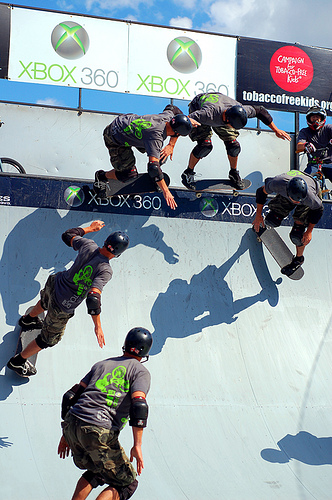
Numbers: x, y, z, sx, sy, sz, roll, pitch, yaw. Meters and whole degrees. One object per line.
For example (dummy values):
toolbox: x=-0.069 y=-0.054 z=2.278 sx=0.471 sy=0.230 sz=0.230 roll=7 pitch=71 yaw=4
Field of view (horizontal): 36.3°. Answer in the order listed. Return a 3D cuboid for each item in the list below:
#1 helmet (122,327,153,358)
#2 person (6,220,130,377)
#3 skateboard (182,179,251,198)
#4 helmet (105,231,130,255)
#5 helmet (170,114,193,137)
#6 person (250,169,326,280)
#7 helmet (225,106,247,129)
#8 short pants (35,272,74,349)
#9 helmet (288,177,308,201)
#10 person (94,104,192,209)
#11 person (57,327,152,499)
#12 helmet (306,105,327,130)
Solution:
helmet: x=-0.254 y=0.809 z=4.609 sx=0.210 sy=0.261 sz=0.270 roll=26 pitch=-3 yaw=-1
person: x=-1.268 y=0.661 z=6.317 sx=1.608 sy=1.180 sz=0.538 roll=-36 pitch=-29 yaw=28
skateboard: x=0.982 y=-1.035 z=8.267 sx=1.389 sy=0.371 sz=0.225 roll=-1 pitch=-16 yaw=-14
helmet: x=-0.531 y=-0.126 z=5.668 sx=0.207 sy=0.241 sz=0.269 roll=35 pitch=17 yaw=-11
helmet: x=0.196 y=-1.704 z=6.857 sx=0.297 sy=0.303 sz=0.286 roll=4 pitch=12 yaw=0
person: x=1.794 y=-0.378 z=7.771 sx=0.997 sy=1.715 sz=1.473 roll=6 pitch=12 yaw=12
helmet: x=0.982 y=-1.895 z=7.262 sx=0.248 sy=0.311 sz=0.300 roll=-1 pitch=-2 yaw=-11
short pants: x=-1.307 y=0.716 z=5.968 sx=0.430 sy=0.970 sz=0.301 roll=6 pitch=12 yaw=10
helmet: x=1.773 y=-0.833 z=7.049 sx=0.243 sy=0.306 sz=0.292 roll=-18 pitch=-2 yaw=-8
person: x=-0.344 y=-1.360 z=7.209 sx=1.420 sy=1.309 sz=0.564 roll=13 pitch=15 yaw=37
person: x=-0.562 y=1.713 z=4.696 sx=0.768 sy=2.056 sz=1.224 roll=3 pitch=12 yaw=-5
helmet: x=2.737 y=-2.469 z=9.337 sx=0.325 sy=0.429 sz=0.381 roll=7 pitch=12 yaw=14
